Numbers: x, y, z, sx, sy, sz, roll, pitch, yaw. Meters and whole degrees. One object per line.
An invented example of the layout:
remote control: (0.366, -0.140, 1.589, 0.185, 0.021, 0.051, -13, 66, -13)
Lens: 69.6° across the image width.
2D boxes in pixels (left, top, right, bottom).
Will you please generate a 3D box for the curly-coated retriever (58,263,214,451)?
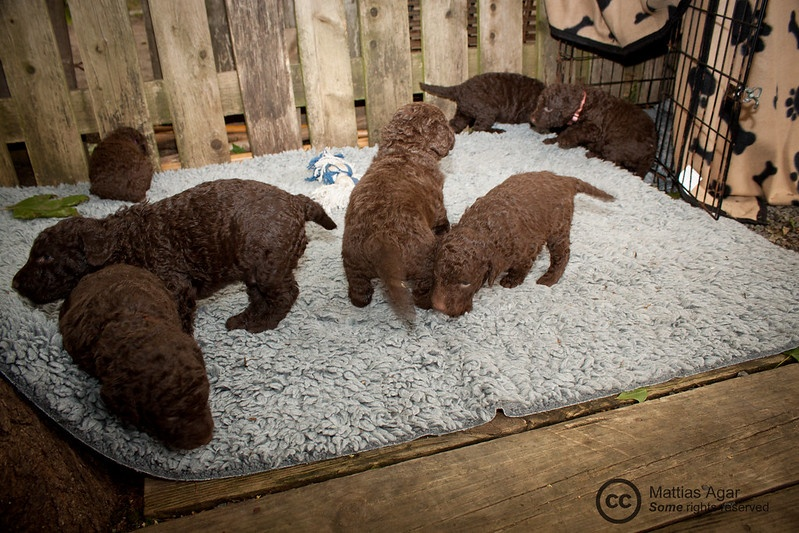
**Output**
curly-coated retriever: (-1.482, 0.370, 3.232, 1.081, 0.543, 0.590, 18, 27, 32)

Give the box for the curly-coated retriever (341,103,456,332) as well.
curly-coated retriever: (0.082, -0.442, 3.875, 0.514, 0.792, 1.830, -2, 49, 18)

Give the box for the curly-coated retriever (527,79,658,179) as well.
curly-coated retriever: (1.819, -1.283, 5.285, 1.121, 0.563, 0.627, 19, 29, 3)

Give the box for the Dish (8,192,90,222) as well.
Dish: (-2.762, -0.472, 4.551, 0.283, 0.059, 0.471, 23, 22, 36)

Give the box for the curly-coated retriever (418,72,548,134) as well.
curly-coated retriever: (0.957, -1.582, 5.691, 1.465, 0.551, 0.476, -13, 25, -18)
